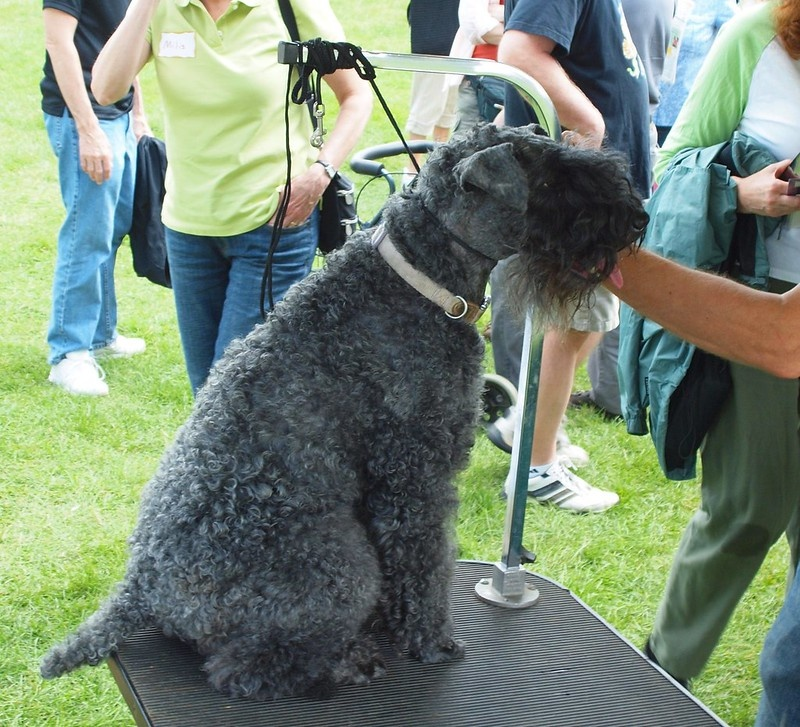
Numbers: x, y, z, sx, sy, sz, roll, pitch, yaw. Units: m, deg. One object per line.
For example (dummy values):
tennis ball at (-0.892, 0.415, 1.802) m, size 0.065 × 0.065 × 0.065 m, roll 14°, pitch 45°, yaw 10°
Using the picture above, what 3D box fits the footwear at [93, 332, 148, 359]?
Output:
footwear at (-1.674, -0.115, 5.883) m, size 0.278 × 0.110 × 0.102 m, roll -9°, pitch 27°, yaw -26°

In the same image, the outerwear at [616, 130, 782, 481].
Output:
outerwear at (0.937, -0.171, 3.303) m, size 0.370 × 0.988 × 0.809 m, roll 2°, pitch 15°, yaw 12°

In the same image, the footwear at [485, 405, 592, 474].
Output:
footwear at (0.602, 0.346, 4.384) m, size 0.478 × 0.311 × 0.146 m, roll 15°, pitch 42°, yaw -20°
